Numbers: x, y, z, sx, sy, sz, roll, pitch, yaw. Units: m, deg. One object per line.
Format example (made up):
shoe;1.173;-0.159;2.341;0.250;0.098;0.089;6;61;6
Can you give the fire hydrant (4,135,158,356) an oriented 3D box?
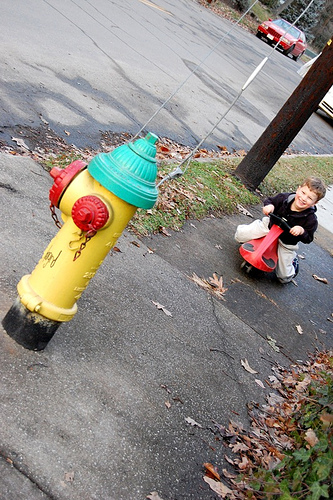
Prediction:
fire hydrant;-0.444;-0.029;2.461;0.451;1.289;0.420;21;27;-28

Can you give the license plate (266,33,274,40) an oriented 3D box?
license plate;5.751;-11.833;26.855;0.076;0.252;0.295;-1;16;-36

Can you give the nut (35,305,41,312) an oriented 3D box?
nut;-0.631;0.283;2.381;0.018;0.026;0.032;18;28;32

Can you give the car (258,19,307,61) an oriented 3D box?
car;6.781;-12.429;28.121;2.384;1.637;4.694;32;23;9

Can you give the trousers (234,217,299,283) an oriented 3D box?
trousers;1.256;-0.079;5.560;0.333;0.669;0.311;30;47;-18

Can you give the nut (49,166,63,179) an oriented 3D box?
nut;-0.563;-0.391;2.433;0.058;0.046;0.066;26;17;8
